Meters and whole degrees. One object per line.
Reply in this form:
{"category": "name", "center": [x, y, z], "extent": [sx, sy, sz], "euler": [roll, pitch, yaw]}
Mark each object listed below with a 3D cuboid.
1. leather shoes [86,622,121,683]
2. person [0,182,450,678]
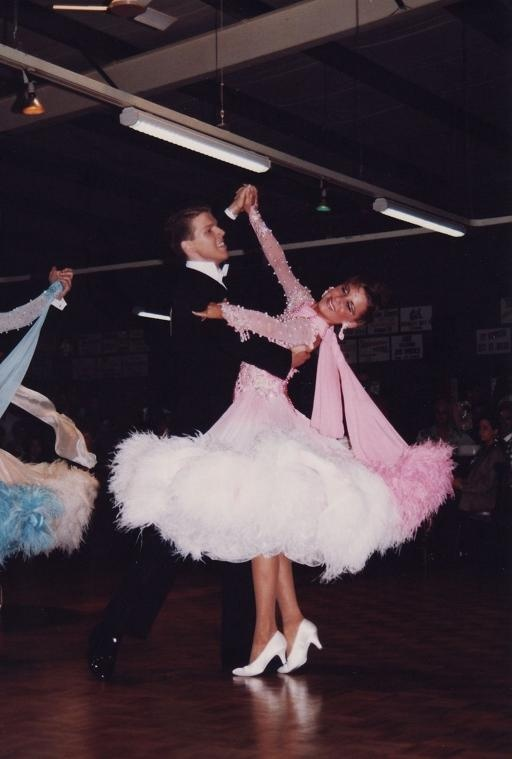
{"category": "leather shoes", "center": [-0.530, 0.954, 2.845], "extent": [0.128, 0.174, 0.048], "euler": [6, -18, -27]}
{"category": "person", "center": [0.073, 0.108, 2.692], "extent": [1.053, 1.029, 0.404], "euler": [2, -7, -18]}
